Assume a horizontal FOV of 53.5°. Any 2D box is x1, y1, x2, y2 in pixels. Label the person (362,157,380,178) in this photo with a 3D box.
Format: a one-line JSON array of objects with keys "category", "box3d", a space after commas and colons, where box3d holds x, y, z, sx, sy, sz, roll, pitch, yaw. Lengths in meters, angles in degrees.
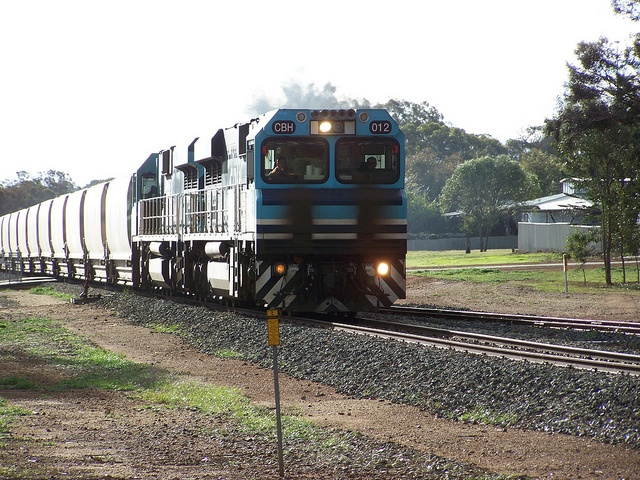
[{"category": "person", "box3d": [1.198, -1.698, 15.004, 0.427, 0.767, 0.457, 2, -7, 2]}]
